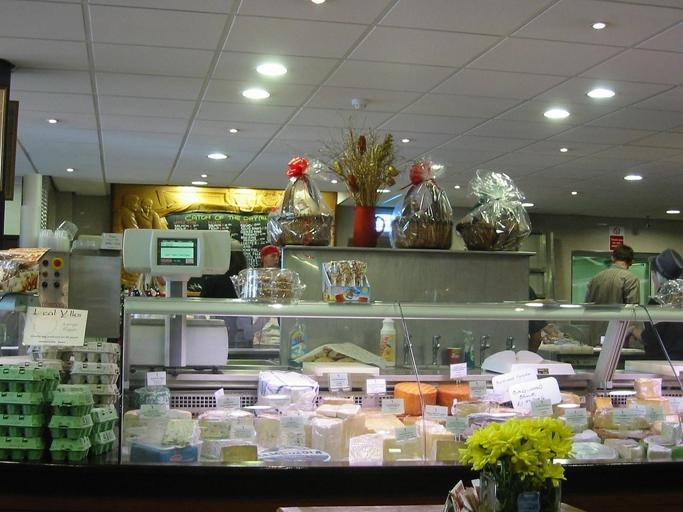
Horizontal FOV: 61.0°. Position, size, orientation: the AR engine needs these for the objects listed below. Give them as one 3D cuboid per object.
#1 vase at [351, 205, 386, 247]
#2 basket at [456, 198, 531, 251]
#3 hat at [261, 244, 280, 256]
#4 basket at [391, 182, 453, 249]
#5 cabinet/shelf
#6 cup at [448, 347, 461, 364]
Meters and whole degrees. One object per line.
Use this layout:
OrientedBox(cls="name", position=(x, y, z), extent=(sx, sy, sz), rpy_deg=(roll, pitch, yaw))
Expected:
OrientedBox(cls="vase", position=(0.135, -0.160, 3.208), extent=(0.141, 0.238, 0.218), rpy_deg=(0, -5, 3))
OrientedBox(cls="basket", position=(0.843, -0.158, 3.243), extent=(0.327, 0.216, 0.314), rpy_deg=(1, 3, -8))
OrientedBox(cls="hat", position=(-0.613, -0.044, 5.018), extent=(0.142, 0.074, 0.110), rpy_deg=(-11, 3, 12))
OrientedBox(cls="basket", position=(0.408, -0.214, 3.237), extent=(0.365, 0.365, 0.339), rpy_deg=(3, 0, -18))
OrientedBox(cls="cabinet/shelf", position=(0.311, 0.376, 2.343), extent=(2.213, 0.401, 0.337), rpy_deg=(1, -5, -10))
OrientedBox(cls="cup", position=(0.501, 0.442, 2.572), extent=(0.067, 0.067, 0.068), rpy_deg=(0, -6, 0))
